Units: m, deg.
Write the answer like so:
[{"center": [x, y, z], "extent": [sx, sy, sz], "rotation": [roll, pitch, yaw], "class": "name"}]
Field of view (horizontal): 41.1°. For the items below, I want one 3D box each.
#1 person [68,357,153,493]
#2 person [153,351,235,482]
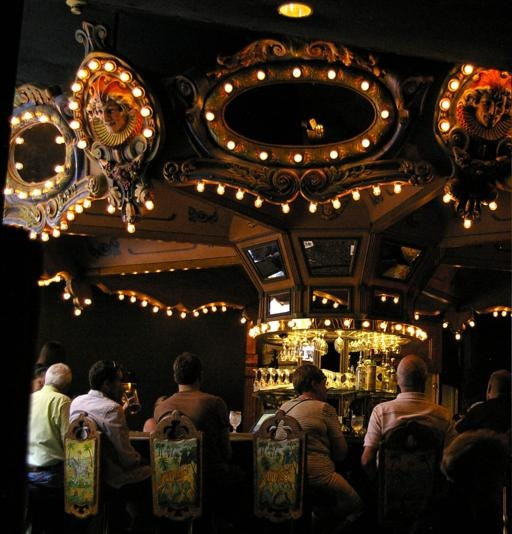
[{"center": [-1.025, 1.079, 4.726], "extent": [0.575, 0.807, 0.553], "rotation": [-1, 0, 18], "class": "person"}, {"center": [-0.425, 0.999, 4.566], "extent": [0.579, 0.771, 0.500], "rotation": [-3, -15, 2], "class": "person"}]
